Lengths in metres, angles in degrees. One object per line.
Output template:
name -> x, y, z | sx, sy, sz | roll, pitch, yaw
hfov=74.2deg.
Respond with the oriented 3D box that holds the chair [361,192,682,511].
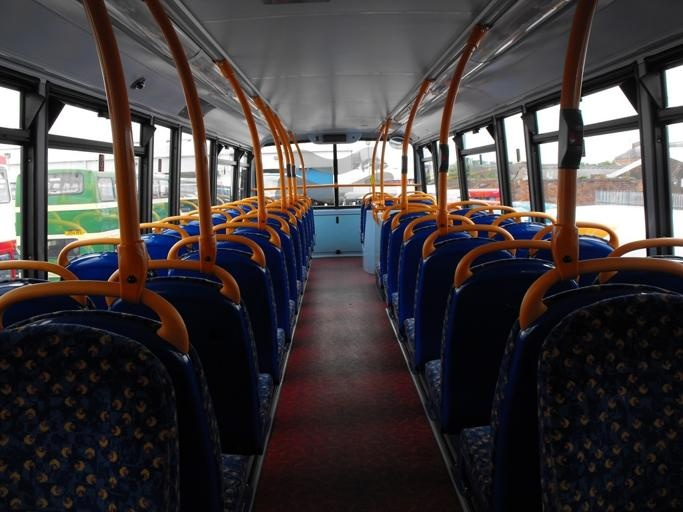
chair -> 0.694, 0.356, 2.044 | 0.834, 1.367, 1.328 | -1, 7, 0
